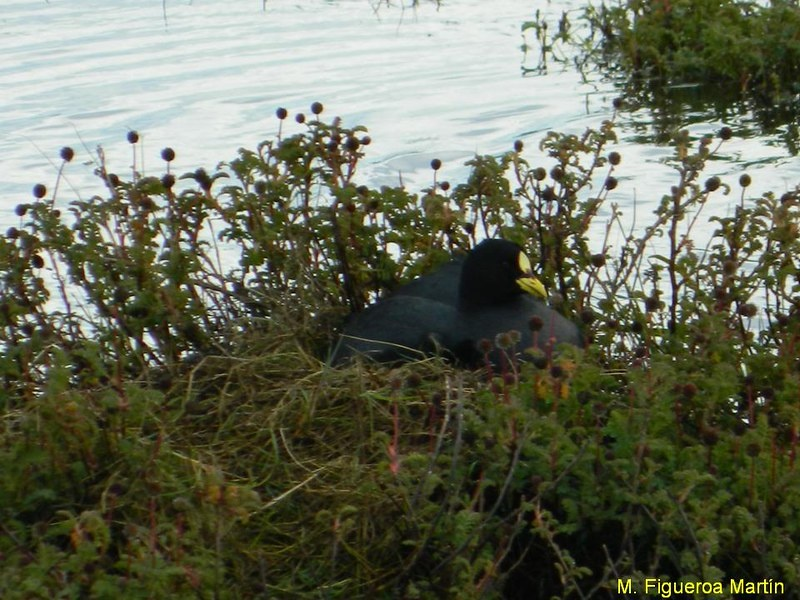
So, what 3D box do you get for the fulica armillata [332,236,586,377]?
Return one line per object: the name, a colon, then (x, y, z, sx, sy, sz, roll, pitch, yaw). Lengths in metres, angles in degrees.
fulica armillata: (0.265, 0.069, 5.268, 0.885, 0.646, 1.133, -17, 17, -41)
